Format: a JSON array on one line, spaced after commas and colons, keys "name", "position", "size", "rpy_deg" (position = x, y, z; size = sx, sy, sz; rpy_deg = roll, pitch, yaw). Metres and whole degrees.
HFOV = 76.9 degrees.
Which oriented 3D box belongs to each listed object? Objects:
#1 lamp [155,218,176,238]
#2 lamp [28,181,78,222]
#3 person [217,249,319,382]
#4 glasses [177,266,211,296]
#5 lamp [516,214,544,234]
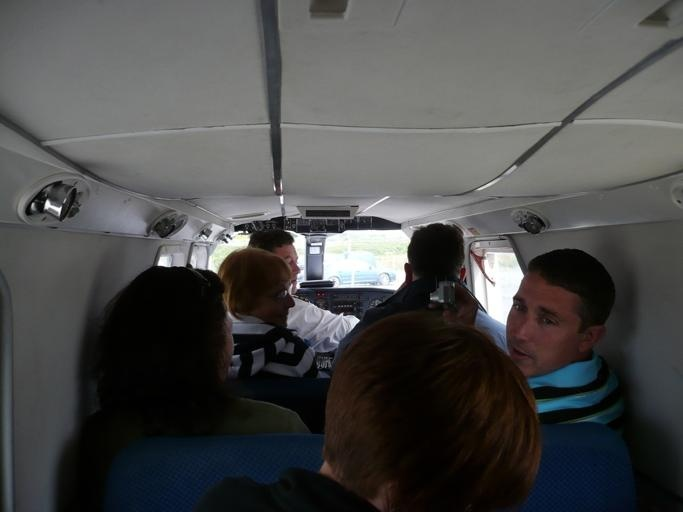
[{"name": "lamp", "position": [-1.327, -0.207, 3.202], "size": [0.112, 0.143, 0.307], "rpy_deg": [0, 1, -14]}, {"name": "lamp", "position": [-1.196, -0.228, 1.763], "size": [0.131, 0.158, 0.169], "rpy_deg": [0, 1, -7]}, {"name": "person", "position": [-0.528, 0.399, 2.725], "size": [0.529, 0.793, 0.950], "rpy_deg": [-9, -1, -20]}, {"name": "glasses", "position": [-0.631, 0.109, 1.883], "size": [0.131, 0.097, 0.052], "rpy_deg": [43, 33, 18]}, {"name": "lamp", "position": [1.415, -0.230, 3.198], "size": [0.116, 0.056, 0.158], "rpy_deg": [8, -9, 15]}]
